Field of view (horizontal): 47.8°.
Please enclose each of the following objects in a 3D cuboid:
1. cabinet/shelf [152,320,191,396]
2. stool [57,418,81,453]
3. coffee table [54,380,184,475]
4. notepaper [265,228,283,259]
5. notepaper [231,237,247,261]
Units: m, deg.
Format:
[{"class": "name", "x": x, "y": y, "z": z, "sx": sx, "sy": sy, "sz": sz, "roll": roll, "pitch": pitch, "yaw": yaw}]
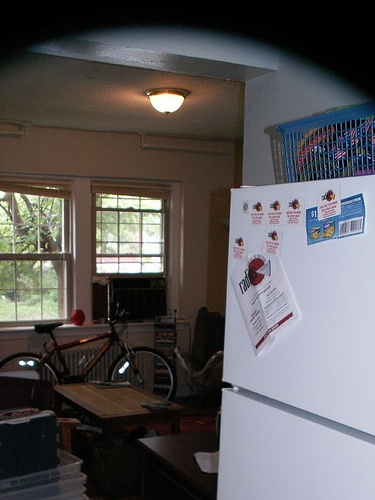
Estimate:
[{"class": "cabinet/shelf", "x": -0.206, "y": 1.166, "z": 4.874, "sx": 0.473, "sy": 0.827, "sz": 0.453, "roll": 1, "pitch": 4, "yaw": -11}, {"class": "stool", "x": -0.764, "y": 1.172, "z": 2.688, "sx": 0.152, "sy": 0.184, "sz": 0.208, "roll": 3, "pitch": -9, "yaw": -19}, {"class": "coffee table", "x": -0.475, "y": 1.105, "z": 3.059, "sx": 0.623, "sy": 0.569, "sz": 0.802, "roll": 3, "pitch": -4, "yaw": -37}, {"class": "notepaper", "x": 0.213, "y": -0.016, "z": 1.024, "sx": 0.008, "sy": 0.073, "sz": 0.077, "roll": 1, "pitch": -2, "yaw": -20}, {"class": "notepaper", "x": 0.143, "y": -0.005, "z": 1.149, "sx": 0.009, "sy": 0.075, "sz": 0.069, "roll": 5, "pitch": -2, "yaw": -24}]
